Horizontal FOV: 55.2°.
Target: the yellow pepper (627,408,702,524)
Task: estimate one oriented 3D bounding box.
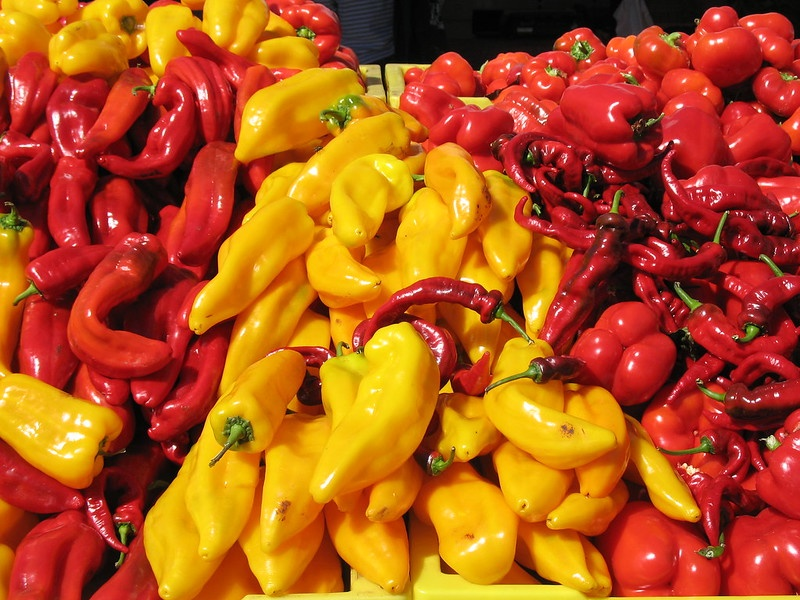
[{"bbox_3d":[0.816,0.557,2.553,0.126,0.124,0.438,30,28,-47],"label":"yellow pepper"}]
